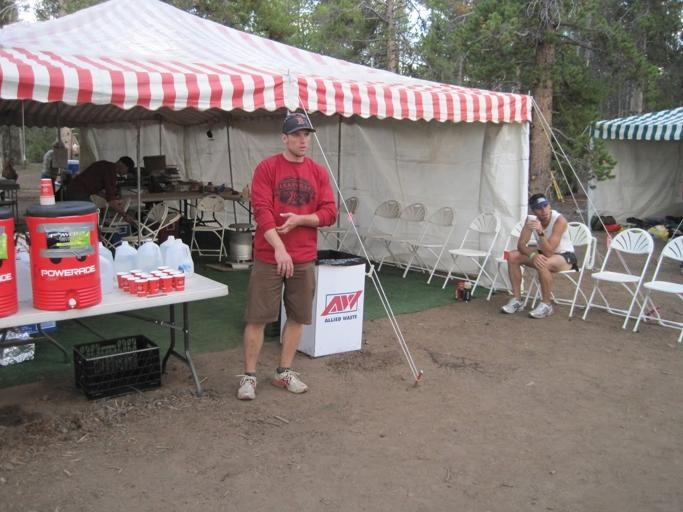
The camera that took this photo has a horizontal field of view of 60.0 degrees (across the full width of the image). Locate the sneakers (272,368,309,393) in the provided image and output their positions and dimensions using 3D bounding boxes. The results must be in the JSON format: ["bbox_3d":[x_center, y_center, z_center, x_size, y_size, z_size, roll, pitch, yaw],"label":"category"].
[{"bbox_3d":[-0.441,1.060,5.138,0.314,0.148,0.152,12,12,25],"label":"sneakers"}]

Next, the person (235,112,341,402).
[{"bbox_3d":[-0.462,0.019,4.859,0.556,2.298,0.830,9,16,31],"label":"person"}]

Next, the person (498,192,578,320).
[{"bbox_3d":[2.414,-0.012,7.137,0.811,1.460,0.580,7,14,22],"label":"person"}]

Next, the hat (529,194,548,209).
[{"bbox_3d":[2.334,-0.628,7.007,0.199,0.157,0.201,-14,11,11],"label":"hat"}]

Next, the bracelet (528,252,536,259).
[{"bbox_3d":[2.275,-0.007,7.049,0.053,0.084,0.074,31,7,36],"label":"bracelet"}]

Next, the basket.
[{"bbox_3d":[-1.907,0.788,4.985,0.666,0.372,0.502,-3,4,-35],"label":"basket"}]

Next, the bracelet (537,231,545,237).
[{"bbox_3d":[2.348,-0.262,6.966,0.055,0.043,0.071,0,2,7],"label":"bracelet"}]

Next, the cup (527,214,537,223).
[{"bbox_3d":[2.268,-0.440,7.005,0.107,0.097,0.110,3,3,0],"label":"cup"}]

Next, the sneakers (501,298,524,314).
[{"bbox_3d":[2.116,0.611,7.285,0.133,0.149,0.331,4,5,44],"label":"sneakers"}]

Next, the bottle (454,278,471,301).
[{"bbox_3d":[1.595,0.464,7.899,0.208,0.276,0.245,0,0,32],"label":"bottle"}]

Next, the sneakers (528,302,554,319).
[{"bbox_3d":[2.406,0.654,7.168,0.375,0.165,0.138,-4,5,-40],"label":"sneakers"}]

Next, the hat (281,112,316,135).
[{"bbox_3d":[-0.377,-1.081,4.772,0.186,0.134,0.256,-3,8,-24],"label":"hat"}]
